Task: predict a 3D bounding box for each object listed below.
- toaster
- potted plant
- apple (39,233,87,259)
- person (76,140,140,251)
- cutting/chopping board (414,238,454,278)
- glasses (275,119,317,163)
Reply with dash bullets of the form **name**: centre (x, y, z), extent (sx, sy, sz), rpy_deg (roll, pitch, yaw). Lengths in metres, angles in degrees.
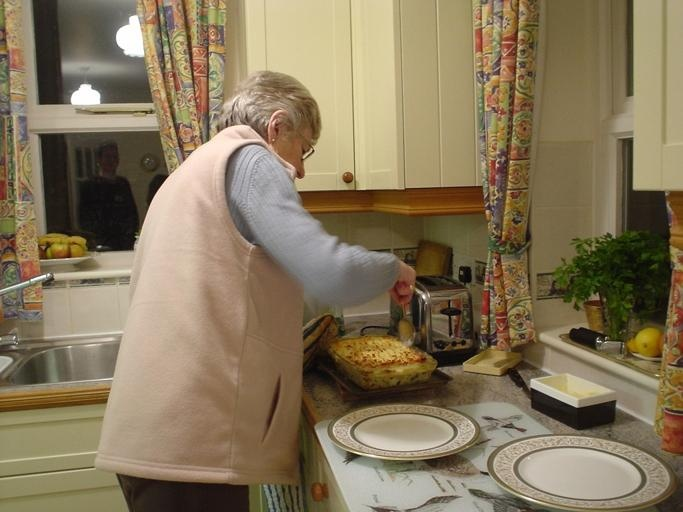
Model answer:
- **toaster**: centre (0.381, 0.198, 2.110), extent (0.206, 0.285, 0.325), rpy_deg (-4, 19, 3)
- **potted plant**: centre (0.773, 0.090, 1.605), extent (0.297, 0.317, 0.182), rpy_deg (-1, 9, 20)
- **apple**: centre (-1.312, -0.047, 2.595), extent (0.142, 0.056, 0.144), rpy_deg (6, 9, 27)
- **person**: centre (-1.121, -0.161, 2.707), extent (0.274, 0.778, 0.179), rpy_deg (-5, -17, -24)
- **cutting/chopping board**: centre (0.422, 0.010, 2.507), extent (0.027, 0.163, 0.180), rpy_deg (3, -5, -27)
- **glasses**: centre (-0.127, -0.303, 1.479), extent (0.023, 0.075, 0.075), rpy_deg (-49, -23, 20)
